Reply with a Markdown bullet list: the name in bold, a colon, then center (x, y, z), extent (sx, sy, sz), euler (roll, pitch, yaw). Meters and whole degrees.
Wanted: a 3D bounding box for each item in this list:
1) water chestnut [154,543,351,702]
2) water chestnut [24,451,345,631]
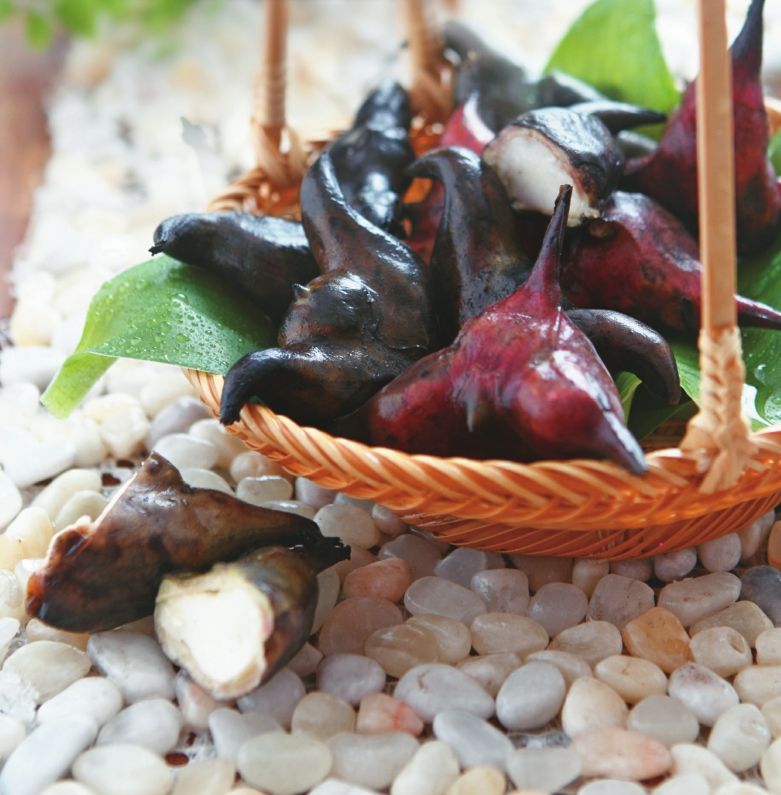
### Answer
- **water chestnut**: center (-0.080, 0.121, 0.584), extent (0.090, 0.056, 0.070), euler (-10, 25, -13)
- **water chestnut**: center (-0.139, 0.072, 0.623), extent (0.218, 0.057, 0.103), euler (11, 38, -40)
